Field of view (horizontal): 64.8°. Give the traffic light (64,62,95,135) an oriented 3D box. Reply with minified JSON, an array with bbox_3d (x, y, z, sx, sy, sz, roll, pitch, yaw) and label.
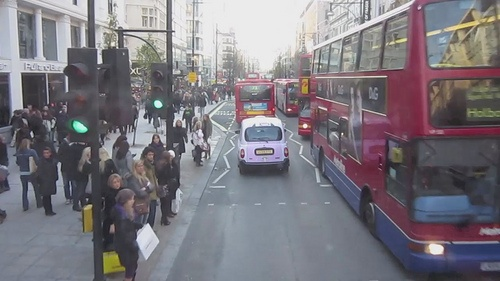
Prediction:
[{"bbox_3d":[-3.817,-0.942,8.786,0.530,1.564,0.247,1,12,1],"label":"traffic light"}]

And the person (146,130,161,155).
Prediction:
[{"bbox_3d":[-4.482,0.051,18.150,0.897,1.327,0.682,-4,11,-15],"label":"person"}]

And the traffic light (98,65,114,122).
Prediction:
[{"bbox_3d":[-3.320,-1.119,9.008,0.290,1.262,0.324,-1,12,-10],"label":"traffic light"}]

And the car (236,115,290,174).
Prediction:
[{"bbox_3d":[0.572,0.024,18.800,1.614,1.549,3.135,0,10,1],"label":"car"}]

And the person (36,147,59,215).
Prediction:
[{"bbox_3d":[-7.059,1.407,13.720,0.637,2.284,0.712,-5,14,-25],"label":"person"}]

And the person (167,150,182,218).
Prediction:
[{"bbox_3d":[-2.683,1.571,13.795,0.640,2.428,0.644,-6,51,-10],"label":"person"}]

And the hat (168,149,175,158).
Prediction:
[{"bbox_3d":[-2.640,0.420,13.246,0.166,0.205,0.225,10,-17,-1],"label":"hat"}]

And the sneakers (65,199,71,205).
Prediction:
[{"bbox_3d":[-6.805,2.254,14.690,0.186,0.238,0.528,0,-1,-24],"label":"sneakers"}]
